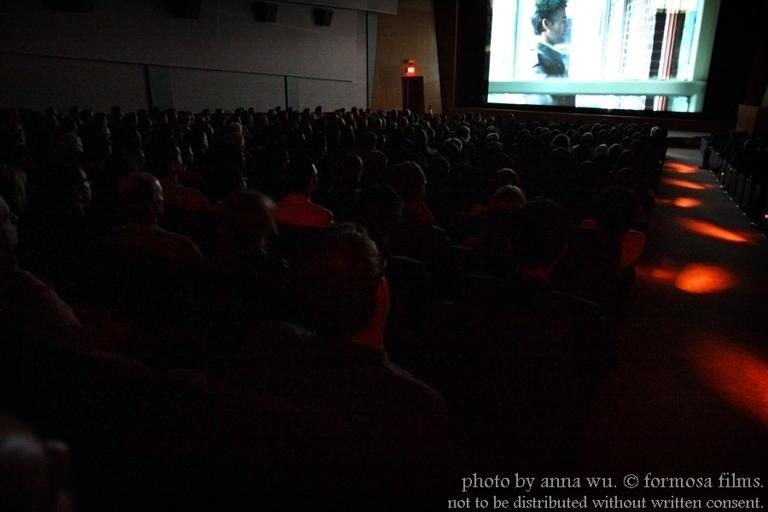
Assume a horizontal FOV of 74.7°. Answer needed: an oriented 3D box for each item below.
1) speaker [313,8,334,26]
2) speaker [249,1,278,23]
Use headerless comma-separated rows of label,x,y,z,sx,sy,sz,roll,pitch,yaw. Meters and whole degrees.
speaker,-2.007,-7.845,16.463,0.810,0.548,0.306,-9,19,-26
speaker,-3.567,-7.247,14.837,0.914,0.632,0.508,-25,43,-38
